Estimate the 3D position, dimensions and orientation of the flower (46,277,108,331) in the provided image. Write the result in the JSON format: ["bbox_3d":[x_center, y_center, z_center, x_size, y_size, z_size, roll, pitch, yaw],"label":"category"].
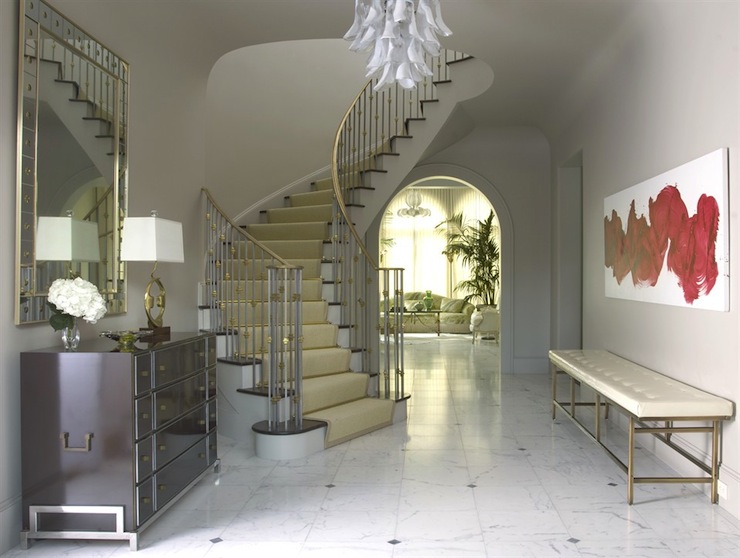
[{"bbox_3d":[-1.939,0.157,3.327,0.375,0.316,0.255,1,3,25],"label":"flower"}]

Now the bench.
[{"bbox_3d":[2.209,1.188,4.434,0.683,0.794,1.801,0,2,5],"label":"bench"}]

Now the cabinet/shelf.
[{"bbox_3d":[-1.730,0.963,3.781,0.890,1.418,1.698,-1,0,4],"label":"cabinet/shelf"}]

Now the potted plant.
[{"bbox_3d":[2.535,-0.537,13.089,1.256,2.470,3.191,0,2,6],"label":"potted plant"}]

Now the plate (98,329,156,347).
[{"bbox_3d":[-1.579,0.386,3.434,0.181,0.049,0.186,1,3,34],"label":"plate"}]
